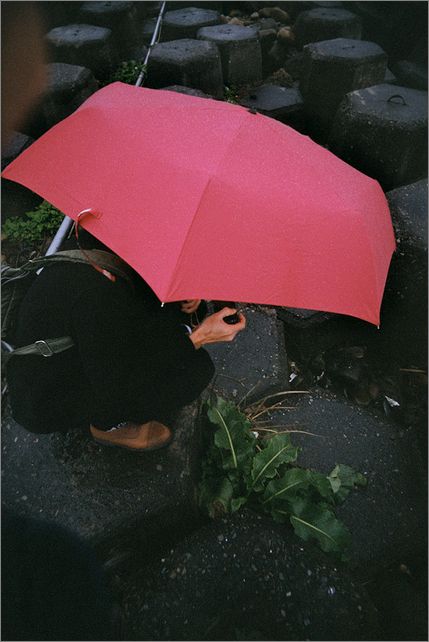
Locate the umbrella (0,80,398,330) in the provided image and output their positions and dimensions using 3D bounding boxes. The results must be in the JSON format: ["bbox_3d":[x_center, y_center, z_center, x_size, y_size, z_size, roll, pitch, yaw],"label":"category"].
[{"bbox_3d":[-0.023,-0.508,2.960,1.857,0.645,1.058,15,53,17],"label":"umbrella"}]

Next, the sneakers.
[{"bbox_3d":[-0.513,0.701,3.478,0.480,0.171,0.190,1,46,-12],"label":"sneakers"}]
